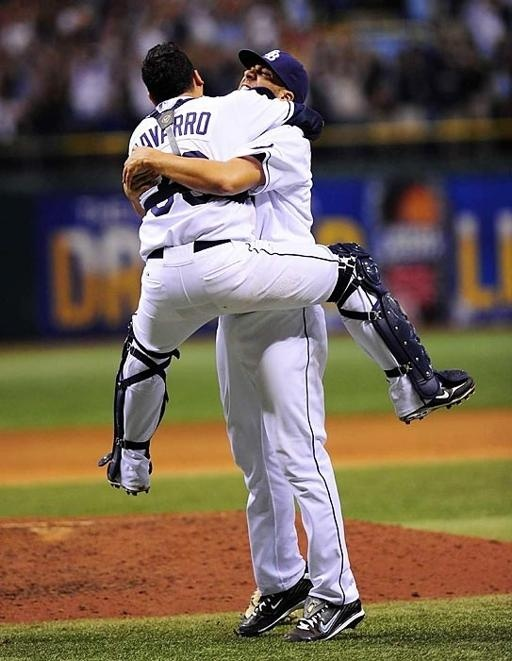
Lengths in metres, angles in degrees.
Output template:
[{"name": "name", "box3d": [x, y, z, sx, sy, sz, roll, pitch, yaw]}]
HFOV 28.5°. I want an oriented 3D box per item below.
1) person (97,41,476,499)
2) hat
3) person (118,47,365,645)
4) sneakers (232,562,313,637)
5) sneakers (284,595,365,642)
[{"name": "person", "box3d": [0.002, -0.159, 2.993, 1.095, 1.374, 0.458, -2, 3, 3]}, {"name": "hat", "box3d": [0.091, -0.792, 3.120, 0.219, 0.118, 0.146, 40, 6, -25]}, {"name": "person", "box3d": [-0.037, 0.024, 3.052, 0.777, 1.742, 0.670, 1, -11, 0]}, {"name": "sneakers", "box3d": [0.058, 0.852, 3.124, 0.314, 0.122, 0.101, -30, 34, -21]}, {"name": "sneakers", "box3d": [0.198, 0.824, 2.893, 0.248, 0.103, 0.081, -17, 8, -34]}]
